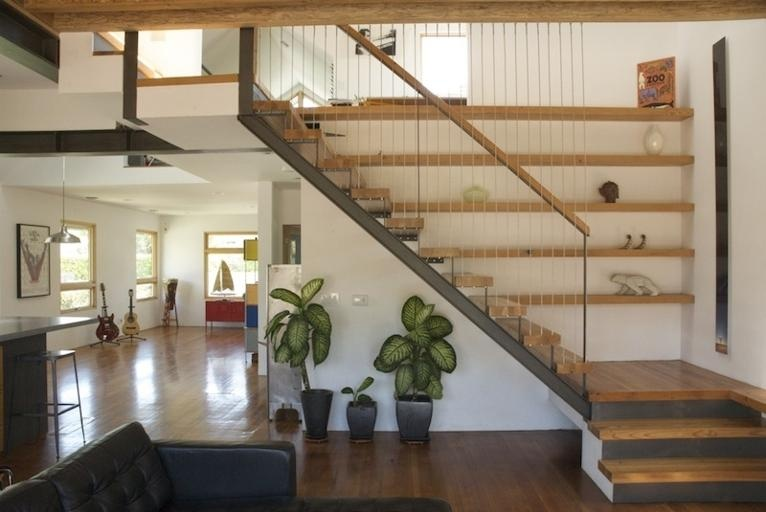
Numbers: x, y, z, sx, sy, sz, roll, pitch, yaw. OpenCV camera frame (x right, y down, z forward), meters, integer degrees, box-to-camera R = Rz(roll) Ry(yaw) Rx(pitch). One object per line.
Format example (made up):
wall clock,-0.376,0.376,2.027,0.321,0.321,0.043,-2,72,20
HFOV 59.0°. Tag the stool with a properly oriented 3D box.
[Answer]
stool,-4.164,1.813,8.319,0.907,1.161,0.959,-11,-9,43

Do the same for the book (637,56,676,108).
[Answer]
book,3.497,-2.195,8.650,0.457,0.625,0.314,-1,2,20

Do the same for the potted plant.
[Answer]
potted plant,-0.183,1.323,8.463,2.068,1.629,0.850,0,4,3

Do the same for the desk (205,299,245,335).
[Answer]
desk,-3.616,1.377,15.527,0.814,0.514,0.256,0,-3,2

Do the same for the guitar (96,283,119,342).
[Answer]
guitar,-5.595,1.163,13.682,0.394,1.213,0.743,-2,2,-23
